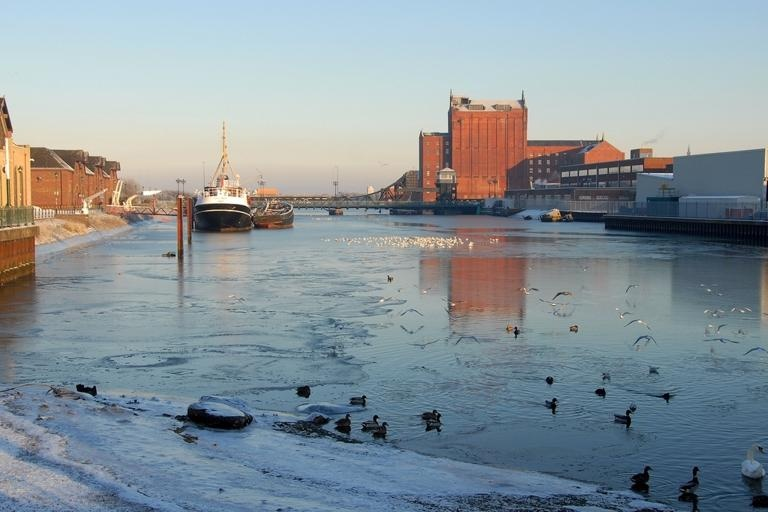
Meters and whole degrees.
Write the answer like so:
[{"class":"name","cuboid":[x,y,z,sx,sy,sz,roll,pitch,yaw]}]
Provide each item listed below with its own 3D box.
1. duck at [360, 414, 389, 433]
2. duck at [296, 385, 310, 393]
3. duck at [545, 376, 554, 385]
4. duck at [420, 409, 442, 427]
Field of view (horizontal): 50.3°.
[{"class":"duck","cuboid":[-0.286,4.317,21.098,0.804,0.219,0.739,-7,12,-33]},{"class":"duck","cuboid":[-2.349,3.795,23.280,0.407,0.208,0.515,-1,10,-4]},{"class":"duck","cuboid":[4.826,3.646,23.953,0.208,0.105,0.220,10,35,8]},{"class":"duck","cuboid":[1.204,4.207,21.479,0.583,0.249,0.753,0,10,1]}]
